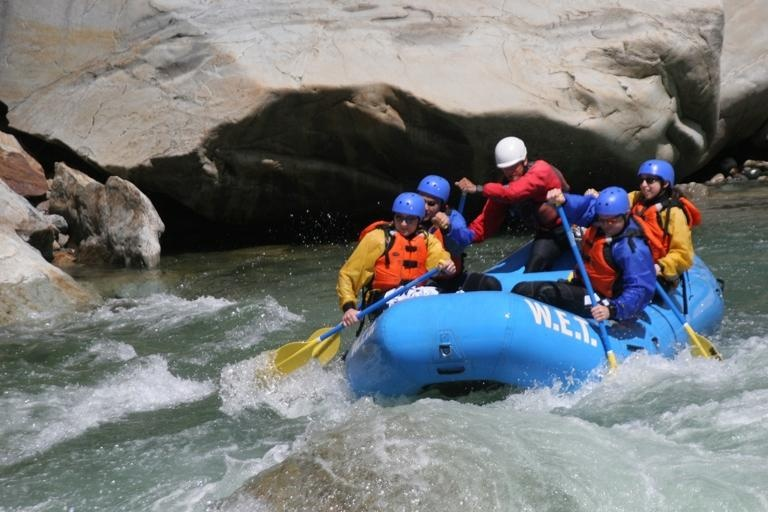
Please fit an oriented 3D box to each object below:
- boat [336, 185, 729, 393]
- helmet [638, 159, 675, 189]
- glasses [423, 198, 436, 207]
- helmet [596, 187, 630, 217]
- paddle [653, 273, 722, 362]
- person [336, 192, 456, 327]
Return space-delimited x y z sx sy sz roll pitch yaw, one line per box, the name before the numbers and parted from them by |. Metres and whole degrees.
boat | 1.499 0.333 8.646 3.156 0.820 1.870 -8 8 -22
helmet | 3.034 -0.947 9.466 0.410 0.228 0.349 5 -8 -13
glasses | 0.495 -0.578 9.313 0.093 0.078 0.105 21 -22 21
helmet | 2.371 -0.524 8.946 0.259 0.278 0.352 0 -22 28
paddle | 3.186 0.684 9.115 0.252 1.179 0.057 -40 -7 10
person | 0.188 0.278 9.118 1.264 1.822 1.011 0 8 7
